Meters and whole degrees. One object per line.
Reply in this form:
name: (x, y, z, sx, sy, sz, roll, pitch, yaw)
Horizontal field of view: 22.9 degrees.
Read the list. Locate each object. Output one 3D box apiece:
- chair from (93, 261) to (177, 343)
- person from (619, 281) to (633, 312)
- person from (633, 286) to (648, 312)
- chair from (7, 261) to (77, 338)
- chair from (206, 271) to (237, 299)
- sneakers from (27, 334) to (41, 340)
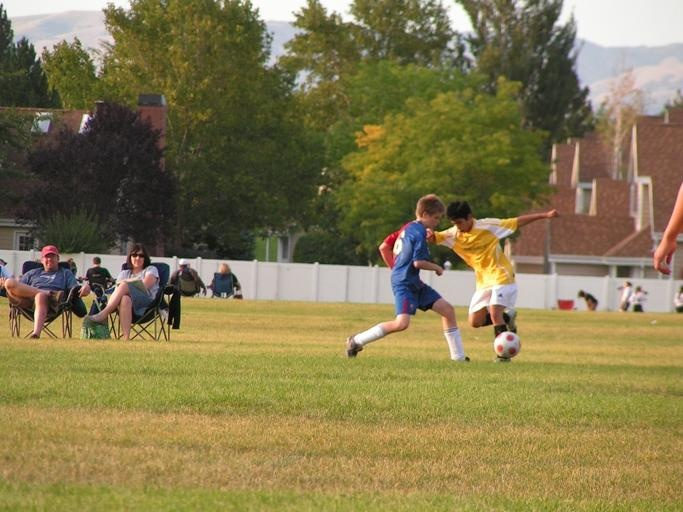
chair: (-7.422, 1.304, 60.272, 2.960, 3.193, 2.067, 2, 14, -31)
person: (14.138, 2.006, 84.370, 0.648, 1.517, 1.706, 0, -3, 9)
person: (14.747, 2.139, 83.965, 0.656, 1.369, 2.809, 0, -4, 12)
chair: (-10.652, 1.616, 60.443, 1.874, 2.497, 1.503, -8, -31, 6)
chair: (-5.673, 1.417, 81.568, 1.226, 1.832, 1.330, 1, 11, -4)
sneakers: (-10.792, 2.864, 59.754, 0.119, 0.173, 0.477, -13, 2, 12)
